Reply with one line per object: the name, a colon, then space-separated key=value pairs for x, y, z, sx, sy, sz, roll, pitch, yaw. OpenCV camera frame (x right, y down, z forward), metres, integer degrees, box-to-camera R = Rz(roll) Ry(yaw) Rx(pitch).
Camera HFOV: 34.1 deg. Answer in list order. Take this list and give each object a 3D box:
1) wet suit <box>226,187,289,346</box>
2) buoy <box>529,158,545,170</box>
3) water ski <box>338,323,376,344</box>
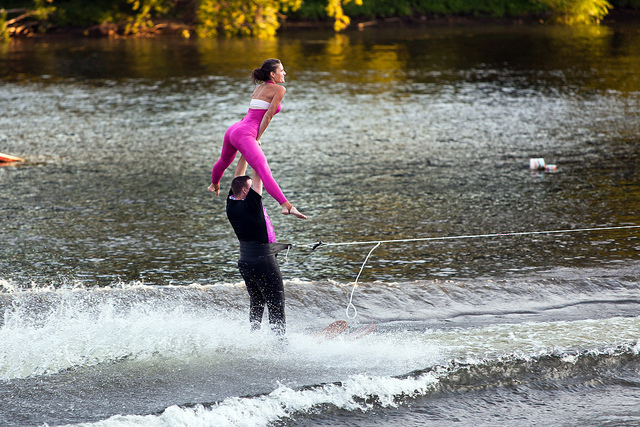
wet suit: x=-1.103 y=0.982 z=19.038 sx=0.966 sy=2.978 sz=0.457 roll=-1 pitch=18 yaw=9
buoy: x=5.464 y=-1.231 z=26.127 sx=0.472 sy=0.256 sz=0.299 roll=-1 pitch=6 yaw=-7
water ski: x=0.743 y=2.258 z=19.645 sx=0.536 sy=0.055 sz=0.334 roll=-19 pitch=15 yaw=-13
